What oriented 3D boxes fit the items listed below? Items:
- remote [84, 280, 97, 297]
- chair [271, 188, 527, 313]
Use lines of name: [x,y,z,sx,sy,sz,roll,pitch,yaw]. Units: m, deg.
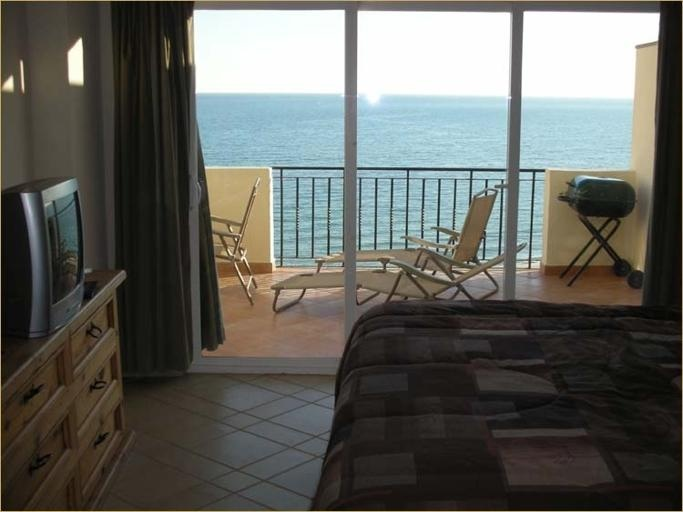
remote: [-1.245,0.160,2.676,0.038,0.017,0.124,-1,21,-15]
chair: [0.472,-0.119,3.930,1.497,0.569,0.903,-2,12,5]
